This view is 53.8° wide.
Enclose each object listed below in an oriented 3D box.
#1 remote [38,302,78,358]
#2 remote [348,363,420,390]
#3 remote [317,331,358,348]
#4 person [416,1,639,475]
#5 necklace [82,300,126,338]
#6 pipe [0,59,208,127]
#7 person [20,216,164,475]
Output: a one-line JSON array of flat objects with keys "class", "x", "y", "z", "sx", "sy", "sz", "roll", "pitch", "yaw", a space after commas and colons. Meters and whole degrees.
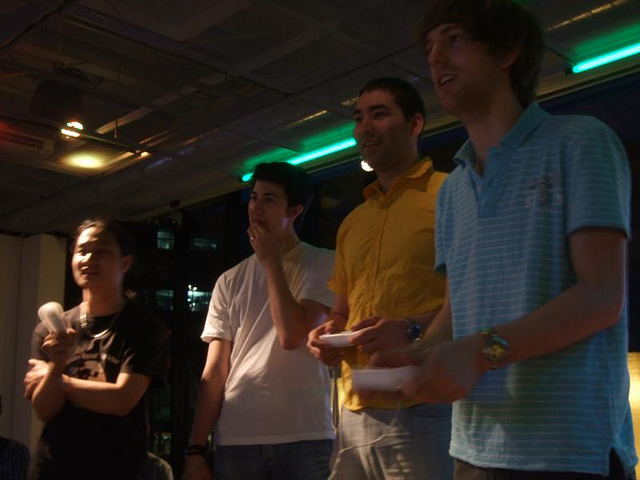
[{"class": "remote", "x": -1.146, "y": 0.404, "z": 2.840, "sx": 0.102, "sy": 0.247, "sz": 0.103, "roll": -18, "pitch": -10, "yaw": 30}, {"class": "remote", "x": 0.162, "y": 0.341, "z": 1.565, "sx": 0.079, "sy": 0.062, "sz": 0.195, "roll": 7, "pitch": -16, "yaw": -34}, {"class": "remote", "x": 0.052, "y": 0.300, "z": 1.900, "sx": 0.094, "sy": 0.035, "sz": 0.129, "roll": 0, "pitch": -13, "yaw": -10}, {"class": "person", "x": 0.512, "y": -0.072, "z": 1.585, "sx": 0.498, "sy": 1.271, "sz": 0.364, "roll": -6, "pitch": -13, "yaw": 16}, {"class": "necklace", "x": -1.040, "y": 0.367, "z": 2.994, "sx": 0.123, "sy": 0.190, "sz": 0.058, "roll": 3, "pitch": -15, "yaw": 25}, {"class": "pipe", "x": -1.704, "y": -1.191, "z": 5.141, "sx": 1.654, "sy": 0.158, "sz": 0.238, "roll": 8, "pitch": -16, "yaw": -36}, {"class": "person", "x": -1.053, "y": 0.458, "z": 2.962, "sx": 0.594, "sy": 1.236, "sz": 0.369, "roll": 2, "pitch": -14, "yaw": -20}]
